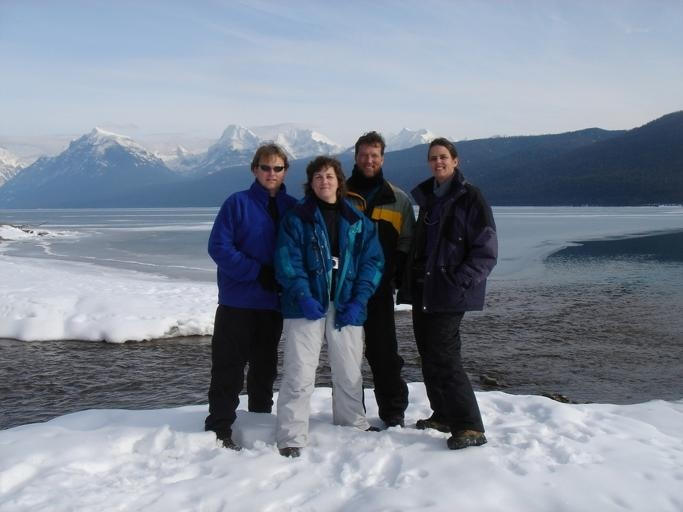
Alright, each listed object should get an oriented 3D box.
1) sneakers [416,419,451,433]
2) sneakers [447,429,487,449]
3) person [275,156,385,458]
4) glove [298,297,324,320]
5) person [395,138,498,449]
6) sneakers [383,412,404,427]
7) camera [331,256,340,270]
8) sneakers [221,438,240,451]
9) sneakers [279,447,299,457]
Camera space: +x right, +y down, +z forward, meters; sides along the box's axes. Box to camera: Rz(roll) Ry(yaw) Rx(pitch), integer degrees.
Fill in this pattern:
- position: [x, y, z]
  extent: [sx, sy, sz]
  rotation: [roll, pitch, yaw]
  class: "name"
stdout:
- position: [1.007, 1.880, 6.289]
  extent: [0.367, 0.137, 0.120]
  rotation: [19, -5, 15]
  class: "sneakers"
- position: [1.252, 1.846, 5.734]
  extent: [0.438, 0.163, 0.142]
  rotation: [4, 14, -11]
  class: "sneakers"
- position: [-0.114, 0.455, 5.969]
  extent: [1.120, 3.006, 0.744]
  rotation: [1, 5, -19]
  class: "person"
- position: [-0.303, 0.539, 5.841]
  extent: [0.259, 0.244, 0.135]
  rotation: [2, 5, -3]
  class: "glove"
- position: [1.161, 0.341, 6.090]
  extent: [0.661, 3.222, 1.168]
  rotation: [0, 5, -33]
  class: "person"
- position: [0.588, 1.856, 6.402]
  extent: [0.191, 0.166, 0.144]
  rotation: [-31, -19, 20]
  class: "sneakers"
- position: [-0.063, 0.074, 6.031]
  extent: [0.137, 0.126, 0.119]
  rotation: [0, -6, 1]
  class: "camera"
- position: [-1.132, 1.919, 5.795]
  extent: [0.216, 0.083, 0.078]
  rotation: [-1, -2, 38]
  class: "sneakers"
- position: [-0.506, 1.940, 5.621]
  extent: [0.213, 0.078, 0.099]
  rotation: [2, 4, -3]
  class: "sneakers"
